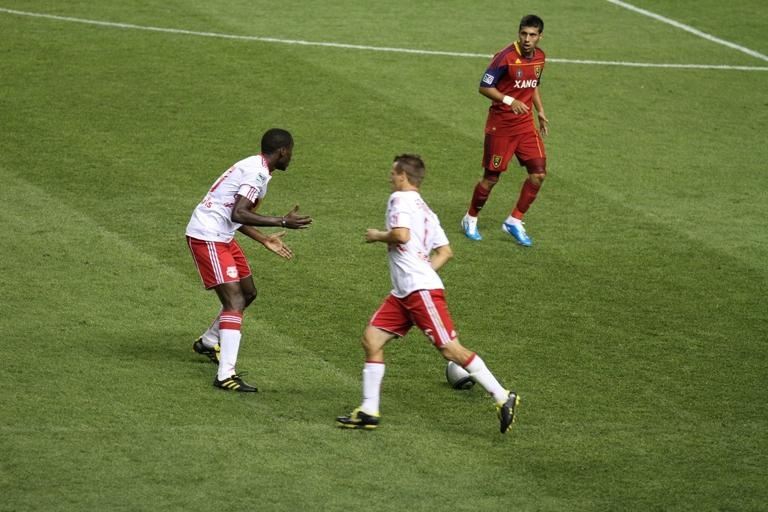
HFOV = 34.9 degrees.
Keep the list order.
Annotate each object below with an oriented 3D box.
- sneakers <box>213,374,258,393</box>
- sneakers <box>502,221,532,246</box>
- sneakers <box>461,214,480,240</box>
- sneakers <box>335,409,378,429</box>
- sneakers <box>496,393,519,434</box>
[{"bbox_3d":[-1.649,1.415,13.561,0.560,0.184,0.177,2,-4,0],"label":"sneakers"},{"bbox_3d":[1.808,-0.300,16.669,0.381,0.165,0.126,37,48,4],"label":"sneakers"},{"bbox_3d":[1.191,-0.379,16.705,0.176,0.191,0.421,-28,64,-13],"label":"sneakers"},{"bbox_3d":[-0.271,1.756,13.215,0.540,0.191,0.171,4,-3,1],"label":"sneakers"},{"bbox_3d":[1.334,1.661,13.175,0.253,0.455,0.190,1,9,1],"label":"sneakers"}]
